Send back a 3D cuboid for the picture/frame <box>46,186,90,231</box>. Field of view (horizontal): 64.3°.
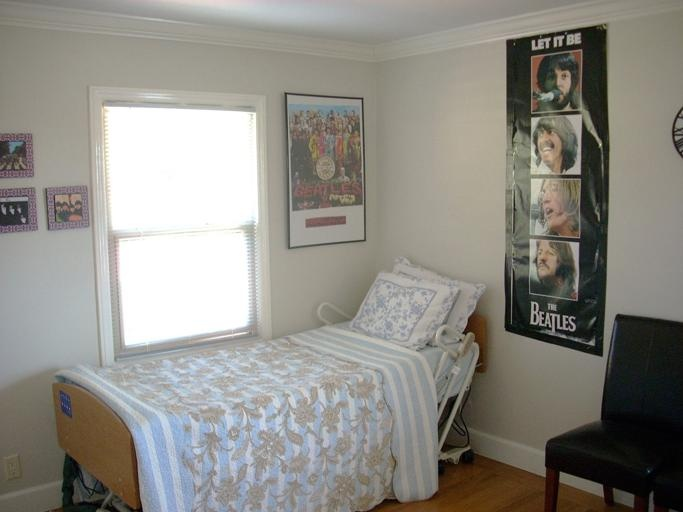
[{"bbox_3d":[-1.762,-0.311,3.481,0.248,0.298,0.028,-6,11,-35],"label":"picture/frame"}]
